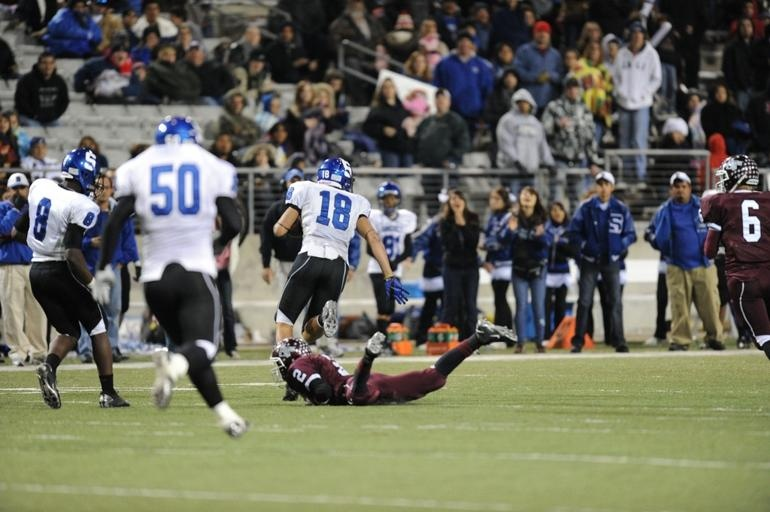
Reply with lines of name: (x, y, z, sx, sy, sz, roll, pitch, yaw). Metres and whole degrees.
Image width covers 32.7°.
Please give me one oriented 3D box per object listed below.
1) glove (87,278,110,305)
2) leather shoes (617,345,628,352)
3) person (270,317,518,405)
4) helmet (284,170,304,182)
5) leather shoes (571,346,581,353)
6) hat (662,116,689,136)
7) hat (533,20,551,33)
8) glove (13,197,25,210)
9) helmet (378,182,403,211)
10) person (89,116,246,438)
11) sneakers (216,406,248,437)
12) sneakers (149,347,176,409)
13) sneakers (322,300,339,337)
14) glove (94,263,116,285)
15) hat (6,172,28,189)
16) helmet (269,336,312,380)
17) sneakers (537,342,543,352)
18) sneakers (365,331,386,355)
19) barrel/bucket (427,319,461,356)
glove: (-3.156, 0.408, 14.565, 0.164, 0.403, 0.586, -21, 0, -15)
leather shoes: (3.907, 1.503, 21.657, 0.220, 0.139, 0.307, -1, -1, 10)
person: (-0.096, 1.396, 15.850, 1.852, 0.676, 1.410, -34, -29, 34)
helmet: (-1.501, -1.327, 21.692, 0.342, 0.254, 0.340, -1, -1, -10)
leather shoes: (3.170, 1.541, 21.744, 0.162, 0.113, 0.353, -1, -1, 8)
hat: (5.799, -2.591, 26.186, 0.318, 0.333, 0.441, 10, 8, 11)
hat: (3.056, -4.455, 25.548, 0.347, 0.265, 0.349, 0, 4, -10)
glove: (-5.899, -0.865, 21.191, 0.208, 0.206, 0.138, -1, -1, -11)
helmet: (0.071, -1.054, 23.023, 0.384, 0.509, 0.454, -1, -1, 0)
person: (-2.282, 0.196, 14.320, 1.493, 3.525, 0.683, -1, -1, -7)
sneakers: (-1.674, 1.793, 14.270, 0.250, 0.376, 0.149, -36, 5, -10)
sneakers: (-2.364, 1.295, 13.991, 0.210, 0.637, 0.292, -1, -11, 8)
sneakers: (-0.701, 0.814, 17.088, 0.181, 0.497, 0.207, 8, -15, -27)
glove: (-3.050, 0.182, 14.246, 0.182, 0.196, 0.219, -1, -1, -17)
hat: (-5.933, -1.214, 21.187, 0.280, 0.256, 0.270, 0, -1, -24)
helmet: (-1.153, 1.283, 16.385, 0.574, 0.558, 0.485, -3, 4, 14)
sneakers: (2.583, 1.525, 21.852, 0.136, 0.134, 0.102, 2, -7, 8)
sneakers: (-0.132, 0.984, 15.199, 0.202, 0.269, 0.065, 38, -2, -29)
barrel/bucket: (1.015, 1.337, 22.782, 0.607, 0.621, 0.509, 5, 12, 26)
